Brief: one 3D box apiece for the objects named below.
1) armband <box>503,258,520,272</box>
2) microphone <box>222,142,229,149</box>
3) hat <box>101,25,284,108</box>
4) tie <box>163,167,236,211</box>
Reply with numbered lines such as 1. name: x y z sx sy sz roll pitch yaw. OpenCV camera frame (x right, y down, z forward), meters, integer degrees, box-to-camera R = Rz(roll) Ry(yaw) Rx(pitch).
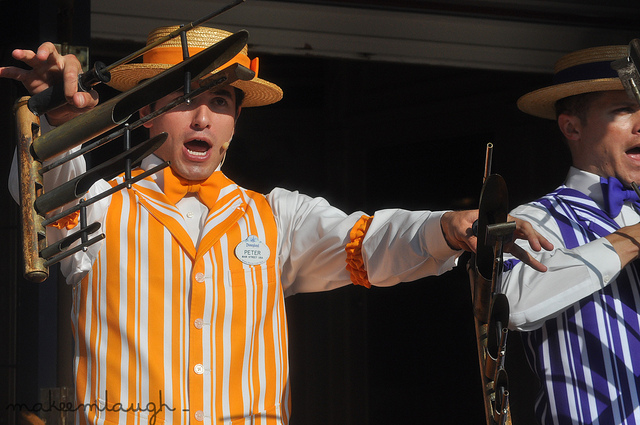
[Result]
1. armband: 0.833 0.231 8.548 0.069 0.064 0.030 -1 -25 6
2. microphone: -0.418 -0.297 8.683 0.007 0.024 0.028 34 29 21
3. hat: -0.537 -0.664 8.852 0.787 0.322 0.625 4 -21 -8
4. tie: -0.532 -0.114 8.671 0.147 0.247 0.419 -26 16 -36
